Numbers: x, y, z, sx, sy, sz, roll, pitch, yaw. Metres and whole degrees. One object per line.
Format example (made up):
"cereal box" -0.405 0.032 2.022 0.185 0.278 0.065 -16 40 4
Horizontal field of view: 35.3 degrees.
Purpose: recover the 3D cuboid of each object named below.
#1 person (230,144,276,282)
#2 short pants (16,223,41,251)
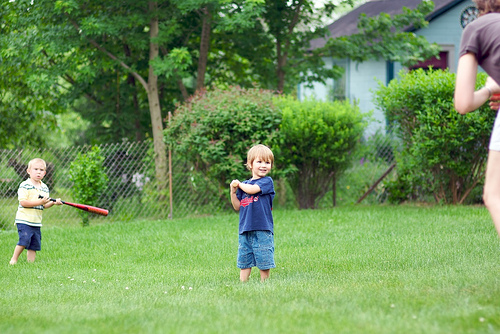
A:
"person" 0.085 0.812 13.616 0.750 2.267 0.659 -3 13 0
"short pants" -4.185 1.330 14.887 0.287 0.523 0.415 -12 -15 28
